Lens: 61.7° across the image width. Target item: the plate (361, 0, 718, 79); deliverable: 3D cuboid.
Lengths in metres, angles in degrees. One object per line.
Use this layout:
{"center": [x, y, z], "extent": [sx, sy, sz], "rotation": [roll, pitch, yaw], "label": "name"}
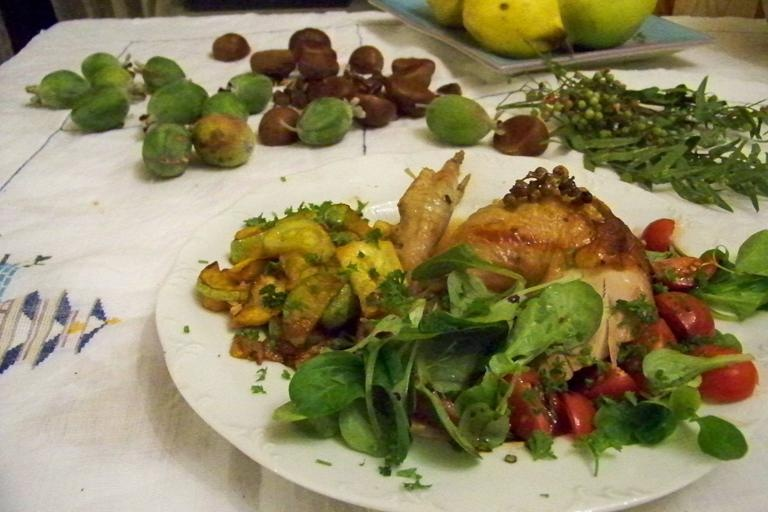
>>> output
{"center": [0.550, -0.779, 2.334], "extent": [0.753, 0.087, 0.518], "rotation": [-17, 35, -34], "label": "plate"}
